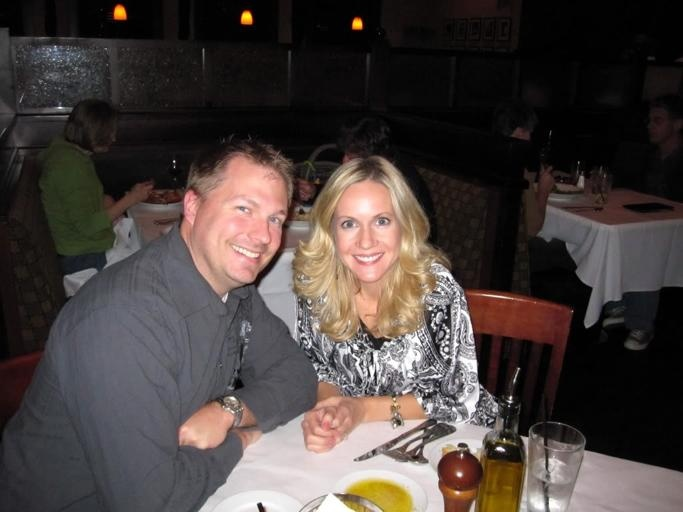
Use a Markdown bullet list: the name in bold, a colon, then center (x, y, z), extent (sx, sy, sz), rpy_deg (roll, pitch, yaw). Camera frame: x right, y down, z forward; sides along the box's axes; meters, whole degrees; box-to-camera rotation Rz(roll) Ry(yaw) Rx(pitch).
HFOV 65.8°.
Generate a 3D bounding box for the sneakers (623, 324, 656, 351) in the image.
- **sneakers**: center (2.198, 0.612, 3.880), extent (0.277, 0.125, 0.103), rpy_deg (-4, 9, -40)

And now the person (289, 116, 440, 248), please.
- **person**: center (0.243, -0.526, 3.335), extent (1.011, 1.012, 0.610), rpy_deg (3, 13, 3)

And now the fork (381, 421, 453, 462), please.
- **fork**: center (0.224, 0.494, 1.460), extent (0.077, 0.030, 0.181), rpy_deg (5, 12, 32)

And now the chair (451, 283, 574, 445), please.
- **chair**: center (0.640, 0.355, 2.128), extent (0.454, 0.724, 0.419), rpy_deg (-5, 13, -41)

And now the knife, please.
- **knife**: center (0.156, 0.522, 1.474), extent (0.293, 0.016, 0.040), rpy_deg (-9, 20, -43)

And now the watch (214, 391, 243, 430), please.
- **watch**: center (-0.322, 0.448, 1.502), extent (0.067, 0.084, 0.083), rpy_deg (6, -3, -14)
